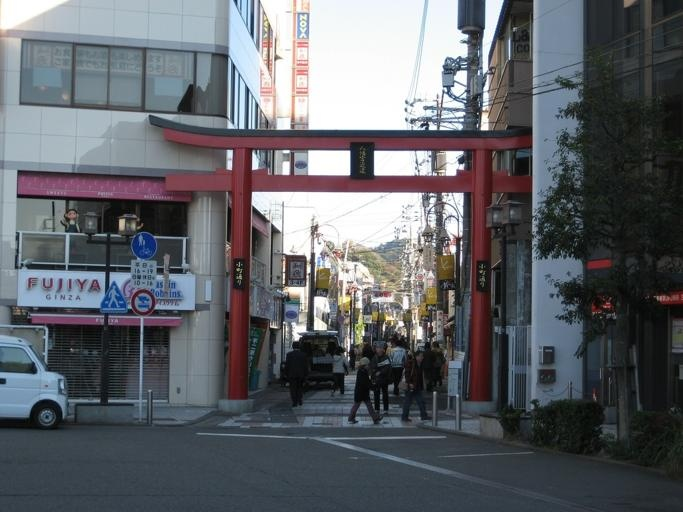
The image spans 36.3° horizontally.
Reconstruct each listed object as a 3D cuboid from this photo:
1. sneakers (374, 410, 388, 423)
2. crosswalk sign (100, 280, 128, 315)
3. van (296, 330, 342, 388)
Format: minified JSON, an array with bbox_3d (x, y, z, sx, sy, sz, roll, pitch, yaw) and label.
[{"bbox_3d":[1.174,4.732,30.562,0.191,0.291,0.640,1,1,11],"label":"sneakers"},{"bbox_3d":[-6.696,1.195,30.542,0.975,1.302,0.160,0,0,-4],"label":"crosswalk sign"},{"bbox_3d":[-0.876,4.320,45.382,1.344,1.604,2.451,0,-1,3],"label":"van"}]
